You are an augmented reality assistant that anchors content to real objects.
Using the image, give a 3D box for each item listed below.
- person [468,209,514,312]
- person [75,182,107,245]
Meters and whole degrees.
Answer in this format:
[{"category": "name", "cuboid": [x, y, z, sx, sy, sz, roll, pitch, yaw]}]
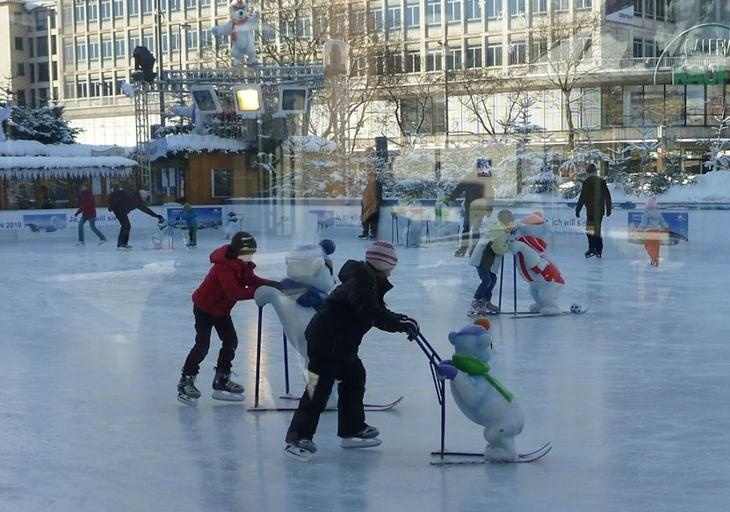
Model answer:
[{"category": "person", "cuboid": [3.233, 0.164, 37.829, 1.260, 2.589, 0.939, 1, 5, -36]}, {"category": "person", "cuboid": [-9.165, -1.392, 49.296, 0.946, 2.573, 1.117, 0, 2, 2]}]
